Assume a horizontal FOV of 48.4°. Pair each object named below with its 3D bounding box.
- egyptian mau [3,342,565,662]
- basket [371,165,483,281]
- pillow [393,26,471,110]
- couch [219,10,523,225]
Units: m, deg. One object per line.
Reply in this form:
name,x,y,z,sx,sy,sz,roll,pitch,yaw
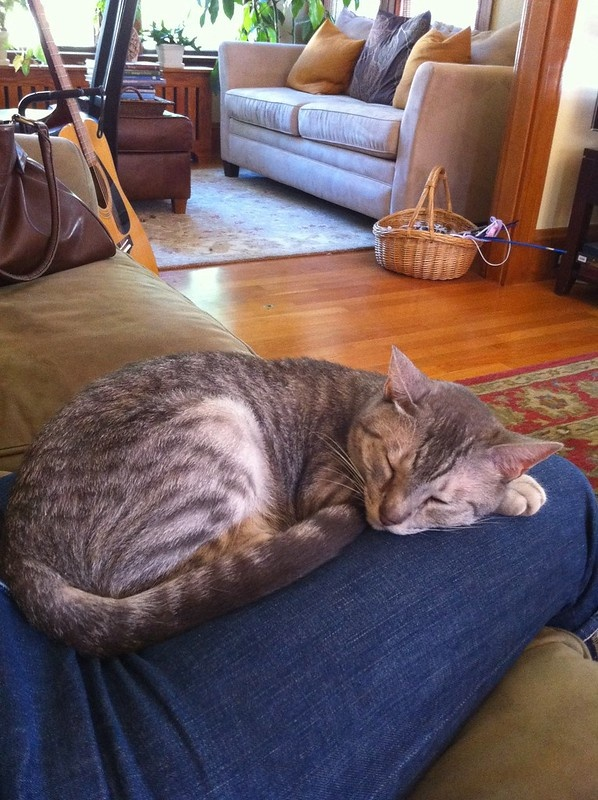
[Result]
egyptian mau,-0.036,0.072,0.919,0.638,0.223,0.399,-5,20,-18
basket,0.654,-0.928,3.422,0.663,0.535,0.481,11,32,10
pillow,0.801,-1.906,3.850,0.379,0.438,0.459,0,27,-9
couch,0.369,-1.907,4.420,0.992,1.159,2.283,-16,35,-29
